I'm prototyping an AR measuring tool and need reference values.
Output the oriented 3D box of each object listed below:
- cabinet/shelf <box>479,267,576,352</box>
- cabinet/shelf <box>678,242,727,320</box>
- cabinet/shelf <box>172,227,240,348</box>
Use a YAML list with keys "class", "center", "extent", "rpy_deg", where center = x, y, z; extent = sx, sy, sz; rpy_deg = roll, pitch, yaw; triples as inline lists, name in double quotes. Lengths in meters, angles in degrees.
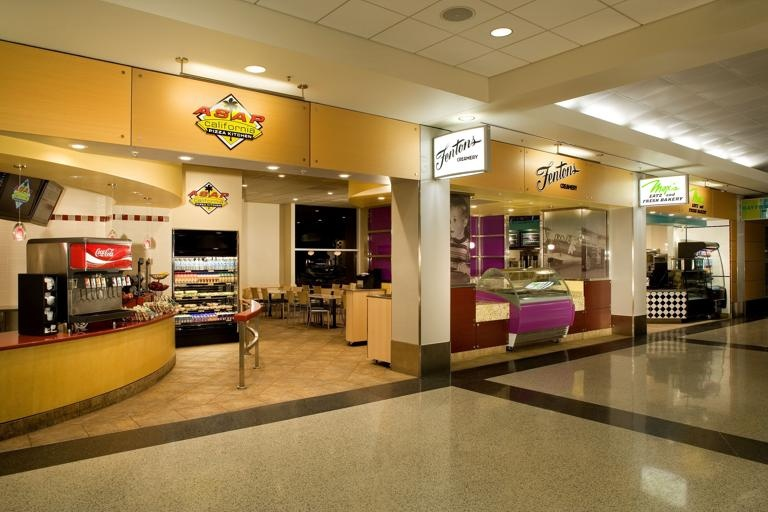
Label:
- class: "cabinet/shelf"
  center: [2.985, 1.114, 10.848]
  extent: [1.948, 1.664, 0.953]
  rpy_deg: [-3, 6, -29]
- class: "cabinet/shelf"
  center: [9.684, 0.811, 15.462]
  extent: [0.913, 1.979, 2.591]
  rpy_deg: [-5, -6, 36]
- class: "cabinet/shelf"
  center: [-4.013, 0.686, 11.499]
  extent: [1.505, 2.578, 0.761]
  rpy_deg: [-2, 6, -20]
